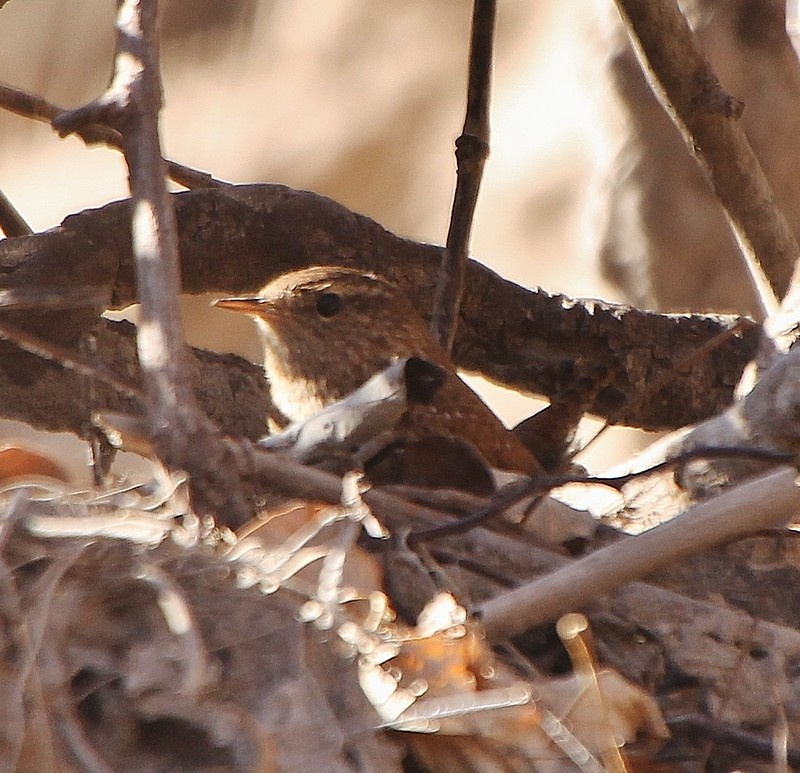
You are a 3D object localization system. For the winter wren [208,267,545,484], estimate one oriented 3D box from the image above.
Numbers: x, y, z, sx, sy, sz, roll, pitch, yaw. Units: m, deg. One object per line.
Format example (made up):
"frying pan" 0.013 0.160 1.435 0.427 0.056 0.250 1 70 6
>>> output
"winter wren" 0.001 0.014 2.565 0.380 0.292 0.186 -1 2 -32
